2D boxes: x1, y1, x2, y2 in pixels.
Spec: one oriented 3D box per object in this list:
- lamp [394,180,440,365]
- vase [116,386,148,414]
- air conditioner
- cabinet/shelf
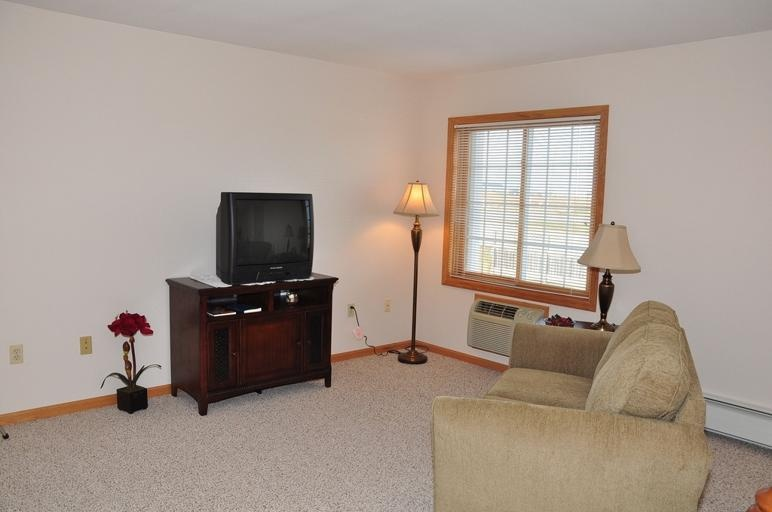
[{"bbox_3d":[0.280,0.161,5.790,0.415,1.834,0.825,2,15,0],"label":"lamp"},{"bbox_3d":[-2.007,1.125,4.473,0.227,0.211,0.227,0,1,18],"label":"vase"},{"bbox_3d":[1.102,0.643,5.063,0.209,0.429,0.596,-1,5,-41],"label":"air conditioner"},{"bbox_3d":[-1.176,0.634,5.106,1.866,1.393,0.991,-2,5,-36],"label":"cabinet/shelf"}]
